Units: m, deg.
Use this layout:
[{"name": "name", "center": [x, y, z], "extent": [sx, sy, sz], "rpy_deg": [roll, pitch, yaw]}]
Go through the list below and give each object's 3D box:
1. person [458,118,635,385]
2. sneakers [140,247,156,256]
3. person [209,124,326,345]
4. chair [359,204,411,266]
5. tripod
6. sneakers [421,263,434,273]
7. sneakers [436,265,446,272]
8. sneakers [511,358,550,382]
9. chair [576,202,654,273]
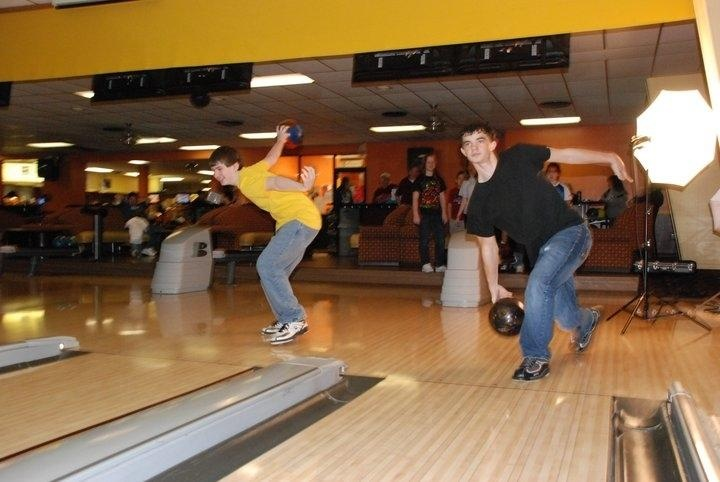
[{"name": "person", "center": [1.133, 0.062, 3.160], "extent": [0.869, 1.609, 0.407], "rpy_deg": [1, 5, 21]}, {"name": "sneakers", "center": [-4.634, 0.244, 10.746], "extent": [0.174, 0.171, 0.461], "rpy_deg": [3, -8, -25]}, {"name": "person", "center": [-0.745, -0.066, 3.997], "extent": [0.838, 1.819, 0.815], "rpy_deg": [-1, 4, -5]}, {"name": "chair", "center": [0.560, -0.135, 9.121], "extent": [0.964, 1.036, 0.750], "rpy_deg": [8, 3, 37]}, {"name": "tripod", "center": [3.587, 0.173, 5.794], "extent": [1.358, 1.132, 1.979], "rpy_deg": [-3, -16, 24]}, {"name": "sneakers", "center": [1.072, 0.425, 7.687], "extent": [0.132, 0.102, 0.182], "rpy_deg": [-2, -6, 10]}, {"name": "sneakers", "center": [1.260, 0.417, 7.535], "extent": [0.159, 0.071, 0.082], "rpy_deg": [5, -7, -21]}, {"name": "sneakers", "center": [1.090, 0.812, 3.078], "extent": [0.241, 0.092, 0.119], "rpy_deg": [2, -4, -35]}, {"name": "chair", "center": [3.812, 0.038, 6.889], "extent": [1.319, 1.045, 1.248], "rpy_deg": [0, -2, 19]}]
